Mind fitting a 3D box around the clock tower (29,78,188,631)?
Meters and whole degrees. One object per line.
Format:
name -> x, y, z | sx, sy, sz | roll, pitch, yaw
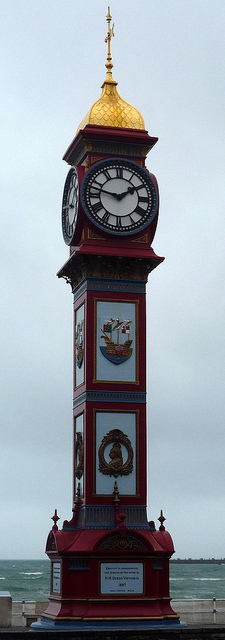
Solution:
clock tower -> -0.042, 0.621, 49.791 | 3.453, 20.080, 2.605 | 0, -17, 1
